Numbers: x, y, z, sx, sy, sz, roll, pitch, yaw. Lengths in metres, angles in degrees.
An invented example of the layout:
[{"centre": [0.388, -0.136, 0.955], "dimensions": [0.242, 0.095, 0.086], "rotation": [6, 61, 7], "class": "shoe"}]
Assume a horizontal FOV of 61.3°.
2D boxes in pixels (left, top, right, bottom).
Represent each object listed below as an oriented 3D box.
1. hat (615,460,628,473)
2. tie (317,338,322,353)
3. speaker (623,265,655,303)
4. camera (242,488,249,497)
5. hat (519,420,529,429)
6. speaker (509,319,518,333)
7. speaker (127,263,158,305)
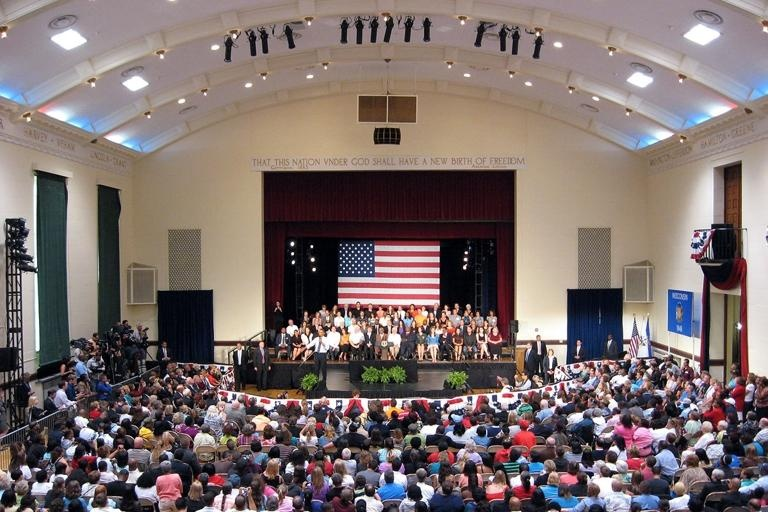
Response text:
[{"centre": [5.014, 4.428, 13.696], "dimensions": [0.197, 0.254, 0.262], "rotation": [8, 20, 1], "class": "hat"}, {"centre": [-2.393, 3.403, 24.447], "dimensions": [0.267, 0.460, 0.132], "rotation": [4, -5, -2], "class": "tie"}, {"centre": [11.092, 1.219, 28.002], "dimensions": [1.176, 1.693, 0.858], "rotation": [-1, -10, 26], "class": "speaker"}, {"centre": [-2.761, 4.698, 12.856], "dimensions": [0.118, 0.126, 0.231], "rotation": [1, 0, 4], "class": "camera"}, {"centre": [3.318, 3.988, 15.312], "dimensions": [0.198, 0.207, 0.203], "rotation": [19, -17, -15], "class": "hat"}, {"centre": [5.603, 3.061, 27.914], "dimensions": [0.428, 0.669, 0.436], "rotation": [-1, -3, -1], "class": "speaker"}, {"centre": [-10.459, 1.191, 27.967], "dimensions": [1.260, 1.664, 0.439], "rotation": [3, -5, -21], "class": "speaker"}]
